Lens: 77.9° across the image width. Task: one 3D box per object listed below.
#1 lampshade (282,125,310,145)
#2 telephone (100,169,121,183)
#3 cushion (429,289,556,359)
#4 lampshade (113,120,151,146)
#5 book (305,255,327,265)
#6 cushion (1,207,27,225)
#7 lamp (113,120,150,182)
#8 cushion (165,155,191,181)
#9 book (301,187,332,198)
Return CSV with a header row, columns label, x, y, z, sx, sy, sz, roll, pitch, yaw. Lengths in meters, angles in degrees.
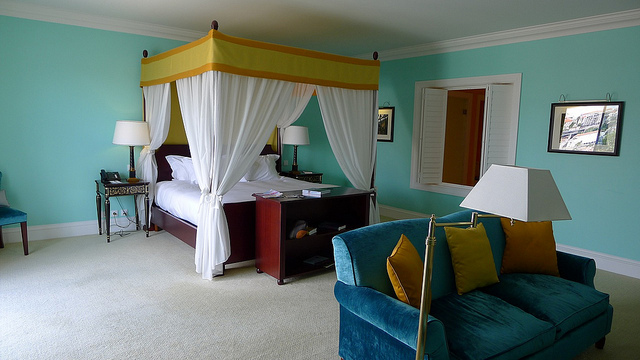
label,x,y,z,sx,sy,sz,roll,pitch,yaw
lampshade,-0.568,-1.011,8.968,0.504,0.440,0.459,-6,16,-21
telephone,-3.880,-0.028,7.287,0.363,0.237,0.237,-1,0,-38
cushion,1.925,1.659,4.462,0.805,0.191,0.869,-7,14,-32
lampshade,-3.490,-0.832,7.298,0.540,0.315,0.523,-1,5,-39
book,-0.075,1.300,6.407,0.337,0.058,0.179,-8,11,-41
cushion,-5.035,0.591,6.471,0.388,0.083,0.273,8,10,41
lamp,-3.557,-0.563,7.469,0.608,1.113,0.655,-1,14,-28
cushion,-2.777,-0.253,7.673,0.495,0.453,0.147,-6,-13,-44
book,-0.070,0.200,6.428,0.490,0.078,0.482,2,9,21
